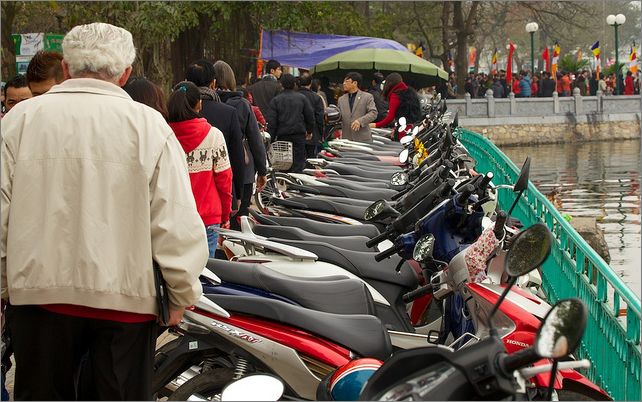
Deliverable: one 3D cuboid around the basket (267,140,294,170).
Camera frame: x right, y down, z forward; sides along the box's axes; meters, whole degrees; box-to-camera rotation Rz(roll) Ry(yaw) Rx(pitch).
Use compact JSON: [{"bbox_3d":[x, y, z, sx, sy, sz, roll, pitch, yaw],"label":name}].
[{"bbox_3d":[-0.637,-0.700,11.112,0.431,0.323,0.366,-1,-3,-24],"label":"basket"}]
